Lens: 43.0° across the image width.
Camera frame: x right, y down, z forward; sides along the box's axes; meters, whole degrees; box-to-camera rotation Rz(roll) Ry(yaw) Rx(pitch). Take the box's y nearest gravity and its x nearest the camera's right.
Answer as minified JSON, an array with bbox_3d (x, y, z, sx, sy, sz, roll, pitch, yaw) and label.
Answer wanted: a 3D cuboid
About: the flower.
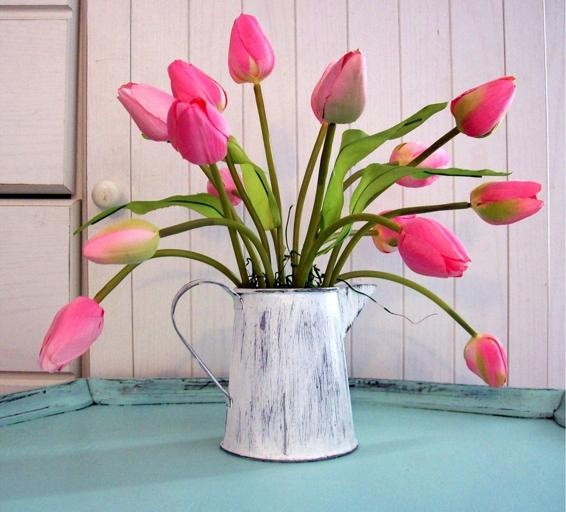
[{"bbox_3d":[0.015,-0.091,0.918,0.482,0.244,0.453,-17,-23,30],"label":"flower"}]
